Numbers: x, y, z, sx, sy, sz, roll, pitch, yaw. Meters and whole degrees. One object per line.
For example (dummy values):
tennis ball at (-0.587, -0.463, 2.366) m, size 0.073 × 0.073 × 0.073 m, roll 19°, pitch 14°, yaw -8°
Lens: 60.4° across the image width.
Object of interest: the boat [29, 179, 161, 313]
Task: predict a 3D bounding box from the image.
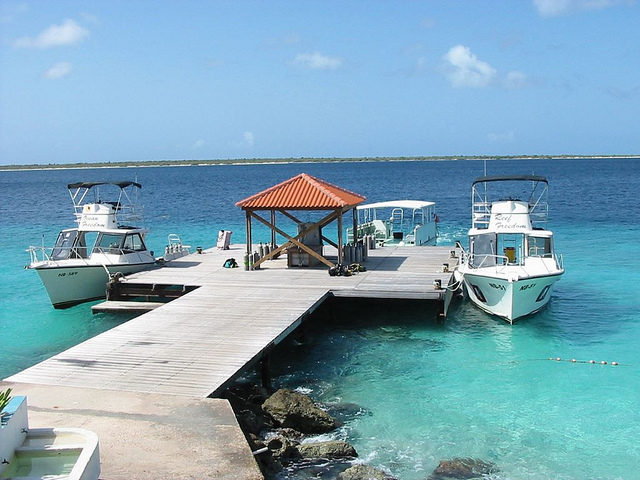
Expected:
boat at (-11.202, -0.141, 27.629) m, size 5.026 × 5.103 × 10.742 m, roll 5°, pitch 8°, yaw 6°

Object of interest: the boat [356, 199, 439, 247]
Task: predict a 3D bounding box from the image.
boat at (5.968, -0.932, 40.283) m, size 5.444 × 2.229 × 8.581 m, roll 1°, pitch 10°, yaw 15°
